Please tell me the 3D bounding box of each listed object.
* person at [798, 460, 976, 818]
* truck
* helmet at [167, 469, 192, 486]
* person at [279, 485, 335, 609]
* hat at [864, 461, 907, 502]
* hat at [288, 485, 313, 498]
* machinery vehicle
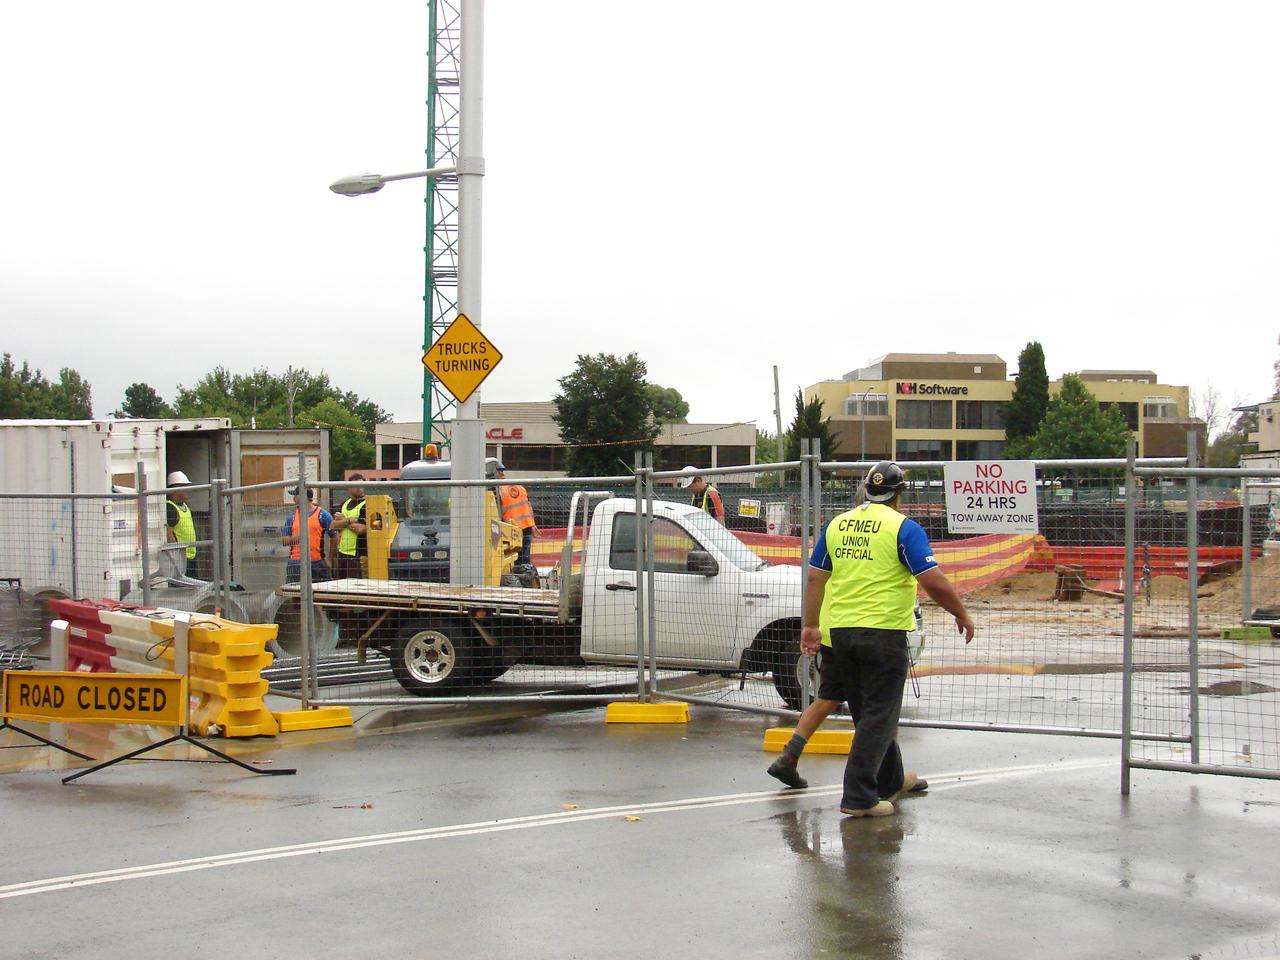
[{"bbox_3d":[1.761,1.080,12.821,1.026,2.419,1.010,-1,5,-6],"label":"person"},{"bbox_3d":[-0.431,1.146,17.618,5.895,1.988,1.990,1,0,20],"label":"truck"},{"bbox_3d":[-5.555,-0.017,21.805,0.317,0.198,0.393,0,-2,-30],"label":"helmet"},{"bbox_3d":[-3.756,0.731,20.151,0.509,1.455,0.419,-8,31,-23],"label":"person"},{"bbox_3d":[1.734,0.010,12.703,0.214,0.167,0.307,5,11,23],"label":"hat"},{"bbox_3d":[-3.406,0.104,18.119,0.217,0.118,0.165,-7,-7,42],"label":"hat"},{"bbox_3d":[-2.226,0.455,20.481,1.246,1.168,1.880,0,-2,0],"label":"machinery vehicle"}]
